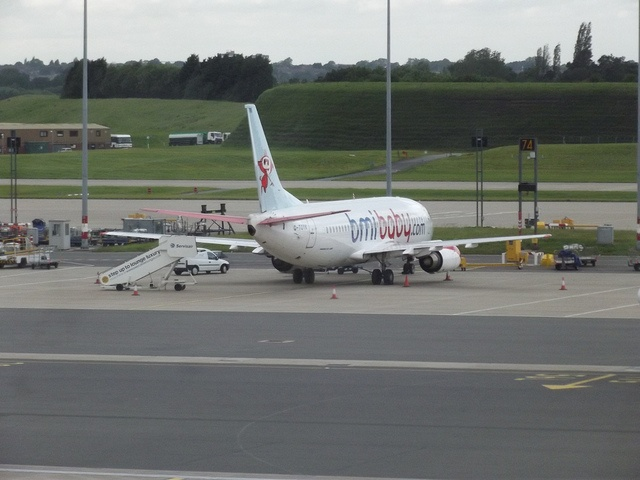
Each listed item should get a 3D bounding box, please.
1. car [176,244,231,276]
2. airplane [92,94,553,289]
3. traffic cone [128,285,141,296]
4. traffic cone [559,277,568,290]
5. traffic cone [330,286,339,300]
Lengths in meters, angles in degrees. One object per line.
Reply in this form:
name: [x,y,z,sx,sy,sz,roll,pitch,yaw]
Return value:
car: [-7.581,1.376,90.942,2.814,1.037,1.645,-6,8,-21]
airplane: [1.030,-2.443,83.745,15.603,11.689,8.606,-12,19,-38]
traffic cone: [-10.277,2.818,80.446,0.695,0.676,0.565,-2,5,-23]
traffic cone: [13.844,2.475,81.288,0.681,0.730,0.615,-2,5,11]
traffic cone: [0.725,2.903,78.720,0.601,0.662,0.594,-6,8,-45]
